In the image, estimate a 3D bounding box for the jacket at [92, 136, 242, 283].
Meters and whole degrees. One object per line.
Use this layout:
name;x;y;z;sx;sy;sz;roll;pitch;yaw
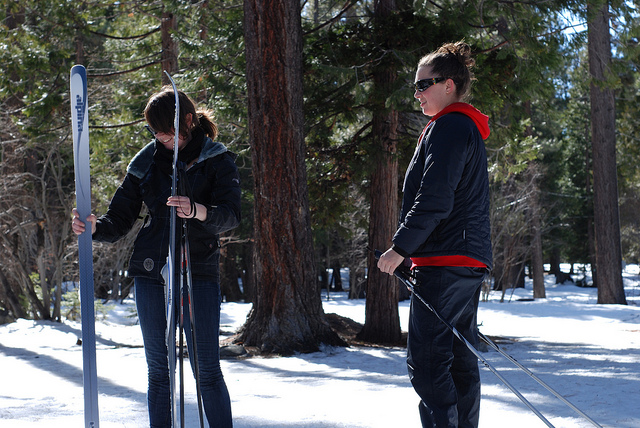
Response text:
jacket;-2.262;-0.117;14.618;2.227;2.411;1.401;-1;-11;10
